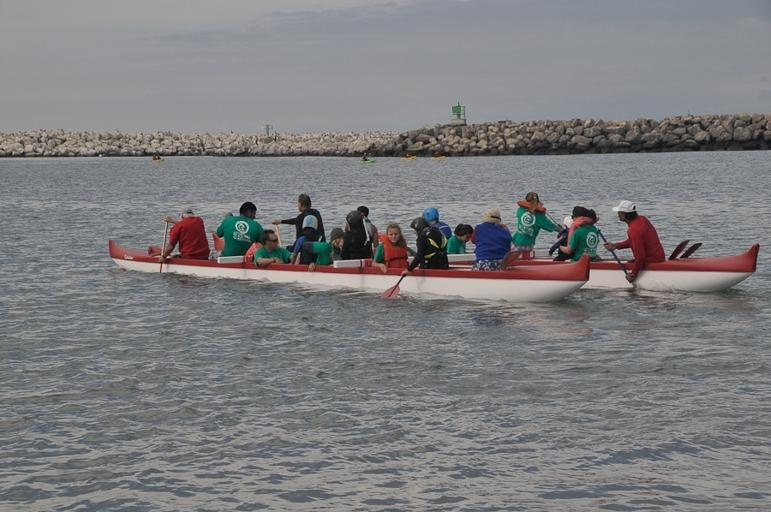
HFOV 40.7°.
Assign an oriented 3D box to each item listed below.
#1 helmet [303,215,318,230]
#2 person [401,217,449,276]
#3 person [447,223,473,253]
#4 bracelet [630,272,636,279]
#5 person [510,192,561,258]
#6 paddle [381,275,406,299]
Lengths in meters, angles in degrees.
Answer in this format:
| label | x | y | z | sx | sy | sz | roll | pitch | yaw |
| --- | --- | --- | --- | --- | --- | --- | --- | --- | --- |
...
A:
| label | x | y | z | sx | sy | sz | roll | pitch | yaw |
| --- | --- | --- | --- | --- | --- | --- | --- | --- | --- |
| helmet | -1.919 | -0.897 | 26.574 | 0.445 | 0.280 | 0.381 | 0 | 2 | 0 |
| person | 1.010 | -0.279 | 24.953 | 1.122 | 1.339 | 0.511 | -4 | 13 | -15 |
| person | 1.953 | -0.467 | 27.773 | 0.662 | 0.390 | 1.138 | 5 | -20 | -13 |
| bracelet | 6.041 | 0.462 | 25.456 | 0.176 | 0.178 | 0.080 | 0 | 49 | 7 |
| person | 3.580 | -0.805 | 25.186 | 1.044 | 1.507 | 0.673 | 0 | 12 | 5 |
| paddle | 0.225 | 0.749 | 25.165 | 0.279 | 0.179 | 0.956 | 39 | 56 | 19 |
